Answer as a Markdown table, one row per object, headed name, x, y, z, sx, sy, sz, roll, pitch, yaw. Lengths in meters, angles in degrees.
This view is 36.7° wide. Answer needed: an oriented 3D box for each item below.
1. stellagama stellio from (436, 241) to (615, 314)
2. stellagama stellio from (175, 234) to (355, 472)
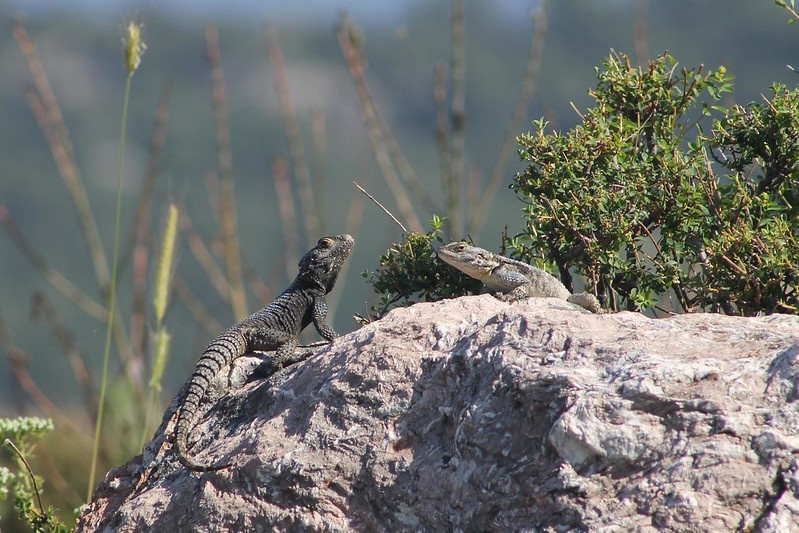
| name | x | y | z | sx | sy | sz | roll | pitch | yaw |
| --- | --- | --- | --- | --- | --- | --- | --- | --- | --- |
| stellagama stellio | 1.438 | 0.209 | 14.811 | 2.005 | 0.654 | 1.472 | 13 | -6 | -10 |
| stellagama stellio | -1.491 | 1.156 | 15.439 | 1.522 | 2.720 | 0.886 | 15 | -45 | 37 |
